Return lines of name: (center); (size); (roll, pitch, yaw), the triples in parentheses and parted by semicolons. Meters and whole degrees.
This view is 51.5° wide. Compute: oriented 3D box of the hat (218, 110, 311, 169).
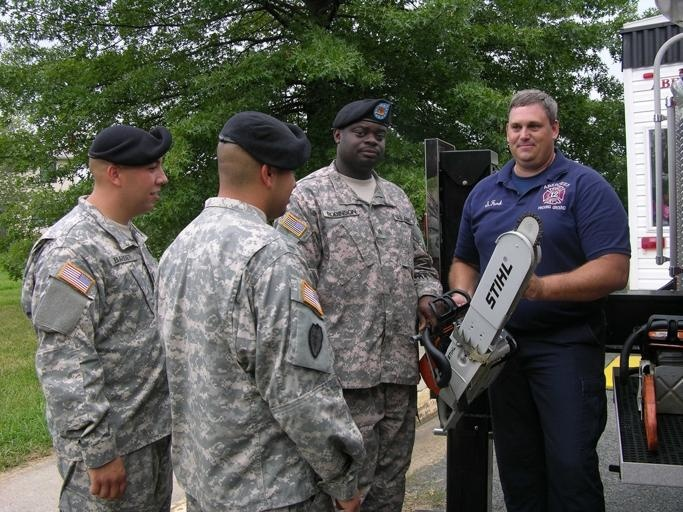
hat: (-0.307, -0.466, 2.857); (0.310, 0.117, 0.234); (23, 2, -30)

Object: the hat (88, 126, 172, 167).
hat: (-1.024, -0.587, 3.503); (0.369, 0.231, 0.222); (8, 16, 27)

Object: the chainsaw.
chainsaw: (0.696, 0.362, 3.572); (0.423, 1.412, 0.603); (34, 40, 15)
